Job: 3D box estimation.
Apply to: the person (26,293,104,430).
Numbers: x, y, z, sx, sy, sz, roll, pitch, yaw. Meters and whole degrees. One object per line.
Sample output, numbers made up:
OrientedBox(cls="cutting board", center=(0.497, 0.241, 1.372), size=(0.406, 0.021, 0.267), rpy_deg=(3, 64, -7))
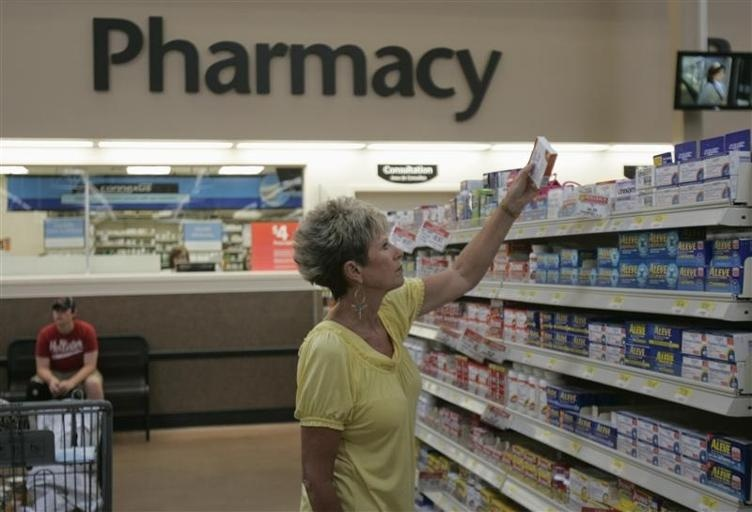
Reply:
OrientedBox(cls="person", center=(-2.554, 0.899, 6.305), size=(0.599, 1.115, 0.605), rpy_deg=(0, 3, -7))

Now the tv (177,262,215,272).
OrientedBox(cls="tv", center=(-1.843, 0.114, 7.729), size=(0.409, 0.109, 0.094), rpy_deg=(-6, 4, -19))

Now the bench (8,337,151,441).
OrientedBox(cls="bench", center=(-2.175, 0.964, 5.543), size=(0.769, 0.594, 0.330), rpy_deg=(0, 5, -5))

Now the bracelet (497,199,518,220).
OrientedBox(cls="bracelet", center=(0.659, -0.234, 3.736), size=(0.082, 0.042, 0.113), rpy_deg=(36, -7, 6))
